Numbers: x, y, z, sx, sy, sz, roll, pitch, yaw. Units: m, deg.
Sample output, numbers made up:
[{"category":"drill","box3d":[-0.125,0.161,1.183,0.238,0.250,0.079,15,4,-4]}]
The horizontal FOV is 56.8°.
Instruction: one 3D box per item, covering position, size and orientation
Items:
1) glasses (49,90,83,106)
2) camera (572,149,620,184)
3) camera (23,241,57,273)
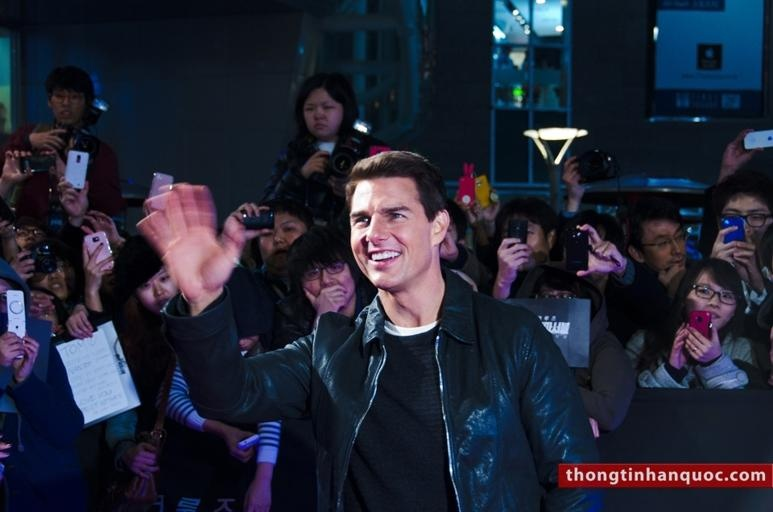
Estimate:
[{"category":"glasses","box3d":[-3.033,-1.482,6.771,0.212,0.058,0.162,1,-9,-5]},{"category":"camera","box3d":[1.838,-0.773,6.478,0.392,0.320,0.271,-5,-25,9]},{"category":"camera","box3d":[-2.904,0.031,6.028,0.229,0.211,0.256,-3,13,-25]}]
